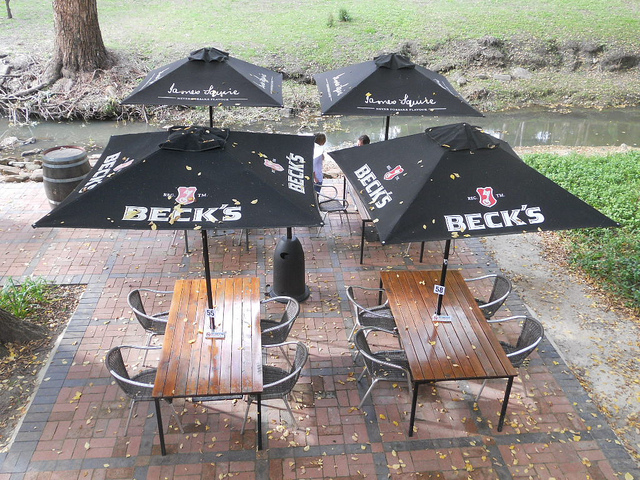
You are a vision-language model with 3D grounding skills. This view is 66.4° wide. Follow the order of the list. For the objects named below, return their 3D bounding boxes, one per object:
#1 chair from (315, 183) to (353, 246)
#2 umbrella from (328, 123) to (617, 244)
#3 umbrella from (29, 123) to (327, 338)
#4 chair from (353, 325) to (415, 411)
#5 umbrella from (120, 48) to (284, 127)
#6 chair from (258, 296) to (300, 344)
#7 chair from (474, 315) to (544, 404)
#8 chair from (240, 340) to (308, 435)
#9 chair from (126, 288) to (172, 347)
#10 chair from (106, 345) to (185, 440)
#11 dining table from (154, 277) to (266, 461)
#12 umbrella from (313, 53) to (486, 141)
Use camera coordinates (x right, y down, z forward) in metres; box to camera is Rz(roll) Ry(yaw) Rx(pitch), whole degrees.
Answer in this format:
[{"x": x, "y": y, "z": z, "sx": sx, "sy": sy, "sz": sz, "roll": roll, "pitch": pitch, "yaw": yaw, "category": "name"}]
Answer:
[{"x": 0.296, "y": -0.475, "z": 10.200, "sx": 1.008, "sy": 1.296, "sz": 0.845, "roll": -10, "pitch": 43, "yaw": -8, "category": "chair"}, {"x": 1.882, "y": -0.600, "z": 5.963, "sx": 2.248, "sy": 0.614, "sz": 1.964, "roll": -2, "pitch": 28, "yaw": -12, "category": "umbrella"}, {"x": -1.633, "y": -0.151, "z": 7.847, "sx": 4.707, "sy": 2.701, "sz": 3.424, "roll": -3, "pitch": 42, "yaw": -5, "category": "umbrella"}, {"x": 0.903, "y": 1.761, "z": 6.806, "sx": 0.934, "sy": 0.878, "sz": 0.867, "roll": 3, "pitch": 23, "yaw": 10, "category": "chair"}, {"x": -2.244, "y": -3.235, "z": 9.774, "sx": 2.848, "sy": 0.966, "sz": 1.772, "roll": -5, "pitch": 32, "yaw": -3, "category": "umbrella"}, {"x": -0.623, "y": 1.248, "z": 7.455, "sx": 0.550, "sy": 0.640, "sz": 0.510, "roll": -3, "pitch": 46, "yaw": -16, "category": "chair"}, {"x": 2.664, "y": 1.746, "z": 6.882, "sx": 0.902, "sy": 1.045, "sz": 0.737, "roll": 6, "pitch": 45, "yaw": -2, "category": "chair"}, {"x": -0.533, "y": 1.910, "z": 6.458, "sx": 0.790, "sy": 0.874, "sz": 0.734, "roll": 3, "pitch": 21, "yaw": 10, "category": "chair"}, {"x": -2.670, "y": 1.245, "z": 7.616, "sx": 0.621, "sy": 0.721, "sz": 0.579, "roll": -8, "pitch": 41, "yaw": -14, "category": "chair"}, {"x": -2.260, "y": 1.976, "z": 6.433, "sx": 0.936, "sy": 0.970, "sz": 0.874, "roll": -4, "pitch": 20, "yaw": -15, "category": "chair"}, {"x": -1.453, "y": 1.646, "z": 6.985, "sx": 1.434, "sy": 1.057, "sz": 2.230, "roll": 0, "pitch": 34, "yaw": -6, "category": "dining table"}, {"x": 1.339, "y": -2.640, "z": 10.460, "sx": 3.002, "sy": 1.801, "sz": 2.591, "roll": 1, "pitch": 36, "yaw": -2, "category": "umbrella"}]
